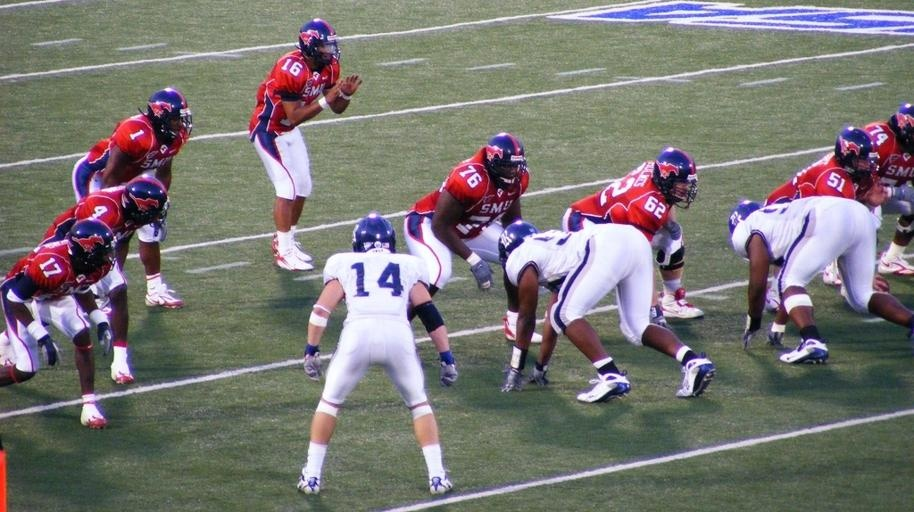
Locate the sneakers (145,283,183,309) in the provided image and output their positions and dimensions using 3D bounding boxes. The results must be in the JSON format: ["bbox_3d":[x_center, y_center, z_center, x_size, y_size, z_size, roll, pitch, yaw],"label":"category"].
[{"bbox_3d":[-3.171,0.465,15.563,0.598,0.201,0.183,2,17,6],"label":"sneakers"}]

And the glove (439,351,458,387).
[{"bbox_3d":[-0.095,1.092,13.708,0.190,0.294,0.290,-6,6,-20],"label":"glove"}]

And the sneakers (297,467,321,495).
[{"bbox_3d":[-1.411,2.130,13.289,0.239,0.236,0.100,13,7,-4],"label":"sneakers"}]

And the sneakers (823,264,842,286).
[{"bbox_3d":[4.318,0.228,16.160,0.174,0.120,0.336,4,19,14],"label":"sneakers"}]

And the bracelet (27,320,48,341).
[{"bbox_3d":[-4.187,0.721,13.902,0.183,0.097,0.210,-32,57,-10],"label":"bracelet"}]

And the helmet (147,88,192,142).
[{"bbox_3d":[-3.223,-1.541,15.548,0.452,0.569,0.279,-11,29,-12],"label":"helmet"}]

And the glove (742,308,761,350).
[{"bbox_3d":[3.136,0.783,14.970,0.183,0.410,0.310,16,39,9],"label":"glove"}]

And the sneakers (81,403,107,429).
[{"bbox_3d":[-3.645,1.579,13.914,0.248,0.214,0.199,-10,27,-12],"label":"sneakers"}]

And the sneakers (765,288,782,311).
[{"bbox_3d":[3.571,0.484,15.770,0.144,0.129,0.333,4,20,14],"label":"sneakers"}]

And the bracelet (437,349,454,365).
[{"bbox_3d":[-0.144,0.982,13.686,0.151,0.105,0.150,-4,6,15],"label":"bracelet"}]

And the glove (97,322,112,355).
[{"bbox_3d":[-3.573,0.824,14.209,0.160,0.279,0.208,-10,-2,3],"label":"glove"}]

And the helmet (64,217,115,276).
[{"bbox_3d":[-3.673,-0.090,14.001,0.452,0.539,0.241,-10,29,-11],"label":"helmet"}]

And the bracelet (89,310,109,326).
[{"bbox_3d":[-3.671,0.627,14.325,0.134,0.123,0.257,34,-11,-16],"label":"bracelet"}]

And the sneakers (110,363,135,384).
[{"bbox_3d":[-3.477,1.228,14.492,0.170,0.092,0.264,1,9,-23],"label":"sneakers"}]

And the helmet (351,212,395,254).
[{"bbox_3d":[-0.830,-0.239,13.705,0.422,0.320,0.435,1,11,-3],"label":"helmet"}]

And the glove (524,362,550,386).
[{"bbox_3d":[0.828,1.216,14.496,0.349,0.244,0.149,1,25,-21],"label":"glove"}]

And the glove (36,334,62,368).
[{"bbox_3d":[-4.061,0.945,13.894,0.162,0.368,0.289,-15,29,-15],"label":"glove"}]

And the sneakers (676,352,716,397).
[{"bbox_3d":[2.407,1.205,14.206,0.254,0.554,0.275,21,42,-10],"label":"sneakers"}]

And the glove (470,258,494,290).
[{"bbox_3d":[0.233,0.200,15.105,0.295,0.279,0.122,-9,-8,-26],"label":"glove"}]
